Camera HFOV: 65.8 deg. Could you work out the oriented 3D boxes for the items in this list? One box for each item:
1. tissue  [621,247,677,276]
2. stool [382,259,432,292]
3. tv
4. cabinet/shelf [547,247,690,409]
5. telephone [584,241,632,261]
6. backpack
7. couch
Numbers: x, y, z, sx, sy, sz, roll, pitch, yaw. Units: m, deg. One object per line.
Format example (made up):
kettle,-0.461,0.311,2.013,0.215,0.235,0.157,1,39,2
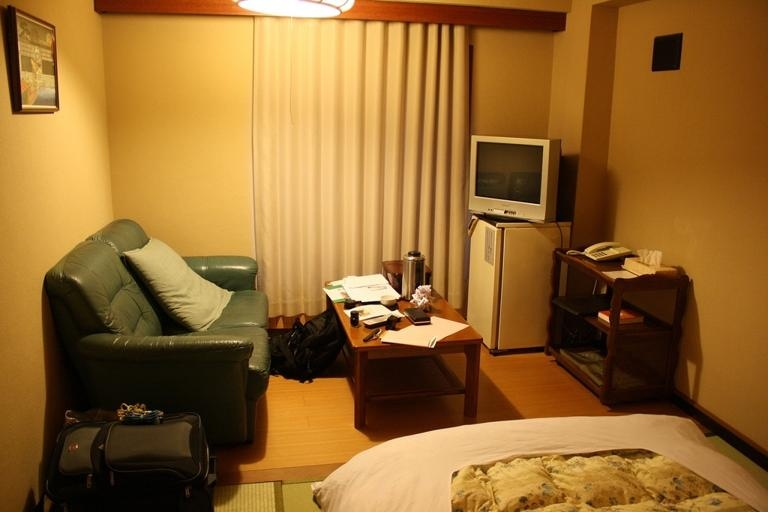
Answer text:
tissue ,1.929,0.051,4.407,0.219,0.106,0.220,-2,8,4
stool,0.171,0.136,4.959,0.254,0.141,0.397,-2,14,-10
tv,1.085,-0.640,4.949,0.678,0.621,0.376,6,9,31
cabinet/shelf,1.781,0.495,4.699,0.728,1.026,0.976,-5,19,-11
telephone,1.750,-0.036,4.636,0.226,0.068,0.195,-5,13,-6
backpack,-0.599,0.732,4.726,0.617,0.248,0.479,-10,60,19
couch,-1.436,0.522,4.153,1.288,1.276,1.103,-2,18,-3
